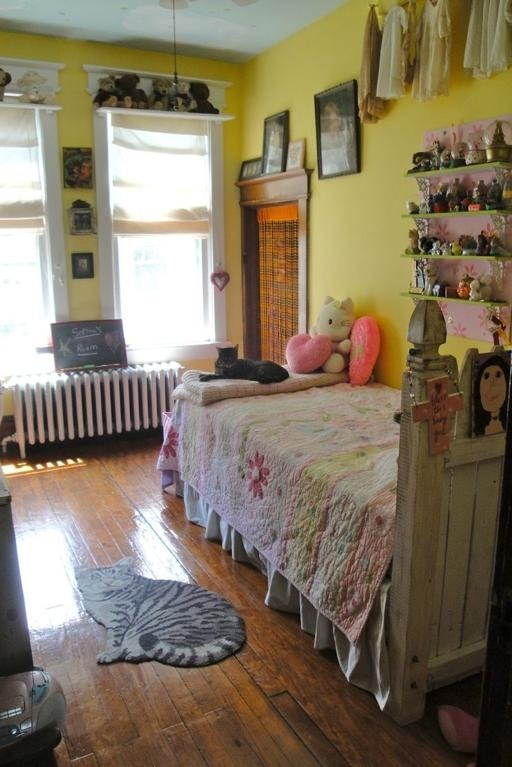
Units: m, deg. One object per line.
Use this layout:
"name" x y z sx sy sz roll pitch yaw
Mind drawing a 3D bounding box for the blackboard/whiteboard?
"blackboard/whiteboard" -1.249 -0.281 4.173 0.347 0.271 0.037 -7 3 -27

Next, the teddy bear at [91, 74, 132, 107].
"teddy bear" -1.010 -2.026 3.944 0.207 0.280 0.156 -6 10 -32

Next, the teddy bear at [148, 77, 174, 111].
"teddy bear" -0.682 -2.079 4.098 0.178 0.237 0.125 -4 10 -14

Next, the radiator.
"radiator" -1.196 0.176 4.033 1.368 0.752 0.228 -10 24 -25

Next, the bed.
"bed" 0.426 0.204 2.240 0.985 1.029 1.397 -9 16 -27

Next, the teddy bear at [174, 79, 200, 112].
"teddy bear" -0.513 -2.068 4.136 0.180 0.259 0.110 -7 15 -15

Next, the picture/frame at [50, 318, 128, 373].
"picture/frame" -1.250 -0.279 4.173 0.365 0.284 0.039 -7 3 -28

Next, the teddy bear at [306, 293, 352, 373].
"teddy bear" 0.463 -0.293 3.464 0.282 0.436 0.310 -11 22 -26

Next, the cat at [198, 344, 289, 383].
"cat" -0.045 -0.130 3.279 0.516 0.232 0.200 5 4 15

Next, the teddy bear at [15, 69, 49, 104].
"teddy bear" -1.479 -1.957 3.775 0.193 0.205 0.053 -5 11 -22

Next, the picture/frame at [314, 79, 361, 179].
"picture/frame" 0.480 -1.499 3.418 0.057 0.524 0.428 -6 11 -25
